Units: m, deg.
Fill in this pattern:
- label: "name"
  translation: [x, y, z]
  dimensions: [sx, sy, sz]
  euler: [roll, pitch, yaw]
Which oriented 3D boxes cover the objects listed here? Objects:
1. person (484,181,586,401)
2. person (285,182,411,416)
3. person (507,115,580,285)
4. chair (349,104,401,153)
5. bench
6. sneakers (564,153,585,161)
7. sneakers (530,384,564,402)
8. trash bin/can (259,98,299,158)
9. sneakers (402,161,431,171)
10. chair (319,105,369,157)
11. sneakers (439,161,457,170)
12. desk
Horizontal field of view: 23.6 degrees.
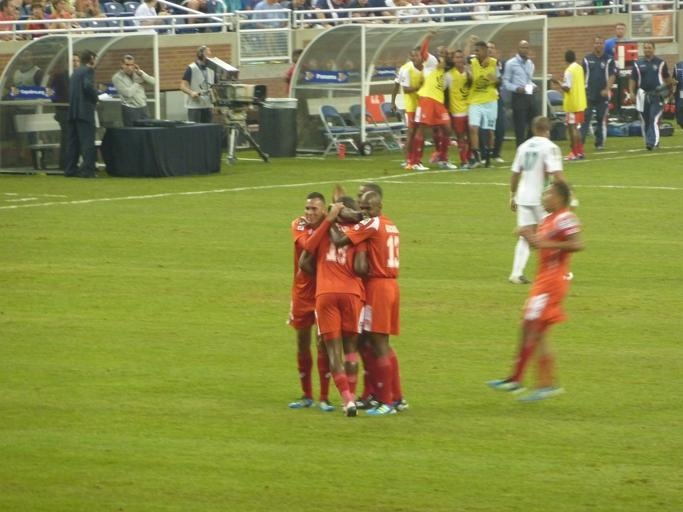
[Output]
- label: "person"
  translation: [2.235, 0.415, 18.366]
  dimensions: [0.887, 2.439, 0.466]
  euler: [-1, 6, 5]
- label: "person"
  translation: [0.347, 0.499, 17.989]
  dimensions: [0.691, 2.527, 0.355]
  euler: [-1, 6, -1]
- label: "person"
  translation: [2.607, -0.730, 21.428]
  dimensions: [0.908, 2.087, 0.583]
  euler: [1, 4, 11]
- label: "chair"
  translation: [0.780, -2.574, 34.076]
  dimensions: [0.831, 1.116, 1.153]
  euler: [-4, 4, -40]
- label: "bench"
  translation: [-5.501, -2.174, 30.241]
  dimensions: [1.278, 1.177, 0.452]
  euler: [3, 7, 35]
- label: "sneakers"
  translation: [4.476, -1.906, 31.591]
  dimensions: [0.381, 0.152, 0.133]
  euler: [1, 10, 2]
- label: "sneakers"
  translation: [2.232, 1.553, 18.326]
  dimensions: [0.477, 0.180, 0.139]
  euler: [-3, 32, 4]
- label: "trash bin/can"
  translation: [-1.303, -2.601, 33.312]
  dimensions: [0.733, 1.188, 0.686]
  euler: [-2, 6, -6]
- label: "sneakers"
  translation: [1.363, -1.658, 30.292]
  dimensions: [0.495, 0.191, 0.157]
  euler: [0, 6, -3]
- label: "chair"
  translation: [0.206, -2.628, 33.941]
  dimensions: [1.124, 1.236, 1.002]
  euler: [2, 8, 20]
- label: "sneakers"
  translation: [1.963, -1.672, 30.497]
  dimensions: [0.352, 0.140, 0.129]
  euler: [5, 12, 37]
- label: "desk"
  translation: [-3.259, -1.915, 29.510]
  dimensions: [2.094, 0.993, 1.020]
  euler: [-2, 6, -11]
